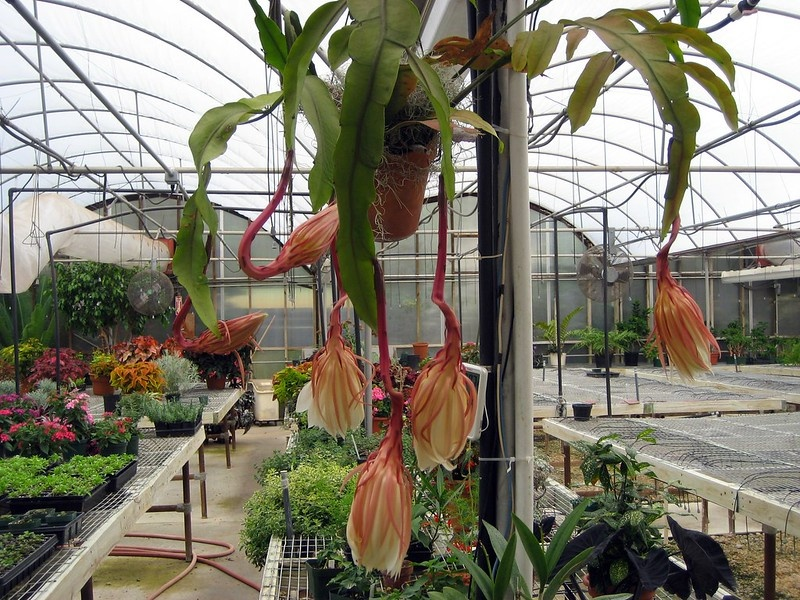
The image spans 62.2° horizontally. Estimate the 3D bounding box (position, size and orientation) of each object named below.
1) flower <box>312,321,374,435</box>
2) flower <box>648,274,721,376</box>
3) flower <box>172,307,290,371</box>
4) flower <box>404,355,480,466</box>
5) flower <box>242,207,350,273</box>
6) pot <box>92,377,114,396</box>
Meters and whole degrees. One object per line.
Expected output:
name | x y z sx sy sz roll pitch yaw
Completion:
flower | -0.171 0.238 1.869 0.151 0.310 0.145 -1 -1 -5
flower | 0.834 0.084 1.948 0.179 0.302 0.229 -1 -1 25
flower | -0.501 0.084 1.836 0.254 0.175 0.135 8 1 -2
flower | 0.134 0.320 1.818 0.156 0.307 0.178 10 7 3
flower | -0.303 -0.153 1.795 0.262 0.201 0.184 0 -1 -14
pot | -2.701 0.801 6.062 0.180 0.141 0.191 -1 -9 0
